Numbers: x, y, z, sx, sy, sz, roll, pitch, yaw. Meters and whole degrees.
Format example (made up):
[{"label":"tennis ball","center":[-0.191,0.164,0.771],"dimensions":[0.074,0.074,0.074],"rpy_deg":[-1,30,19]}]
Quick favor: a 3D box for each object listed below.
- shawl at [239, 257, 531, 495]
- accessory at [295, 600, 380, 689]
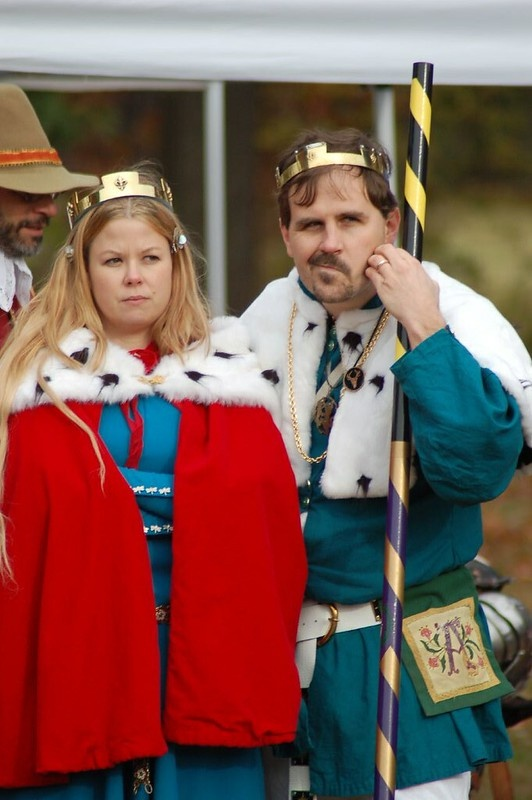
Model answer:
[{"label":"shawl","center":[0.253,-0.037,2.858],"dimensions":[0.192,0.342,0.689],"rpy_deg":[3,-3,-42]},{"label":"accessory","center":[0.225,0.581,3.004],"dimensions":[0.289,0.238,0.187],"rpy_deg":[-9,71,8]}]
